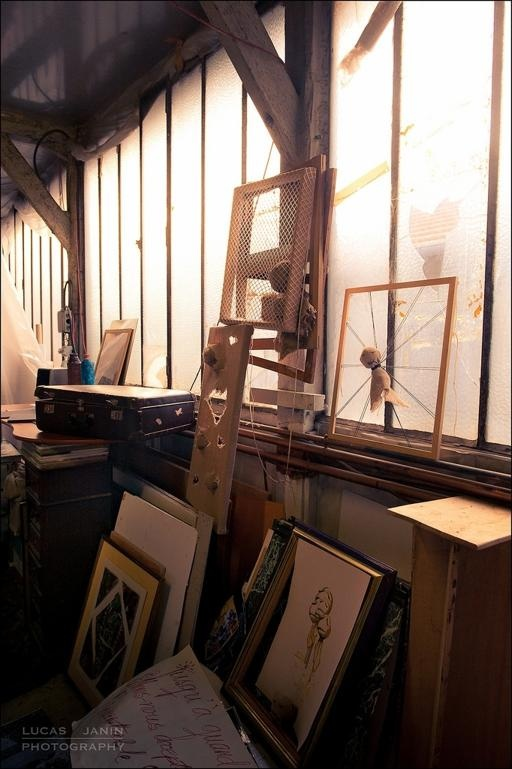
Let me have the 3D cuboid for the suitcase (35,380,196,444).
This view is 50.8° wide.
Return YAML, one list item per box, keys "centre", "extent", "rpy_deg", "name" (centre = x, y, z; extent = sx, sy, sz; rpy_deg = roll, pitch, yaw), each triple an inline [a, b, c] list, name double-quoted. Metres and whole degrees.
- centre: [-0.586, 0.112, 2.115]
  extent: [0.631, 0.191, 0.346]
  rpy_deg: [10, 2, 4]
  name: "suitcase"

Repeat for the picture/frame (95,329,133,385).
- centre: [-0.733, -0.137, 2.796]
  extent: [0.023, 0.353, 0.276]
  rpy_deg: [23, -23, -36]
  name: "picture/frame"
